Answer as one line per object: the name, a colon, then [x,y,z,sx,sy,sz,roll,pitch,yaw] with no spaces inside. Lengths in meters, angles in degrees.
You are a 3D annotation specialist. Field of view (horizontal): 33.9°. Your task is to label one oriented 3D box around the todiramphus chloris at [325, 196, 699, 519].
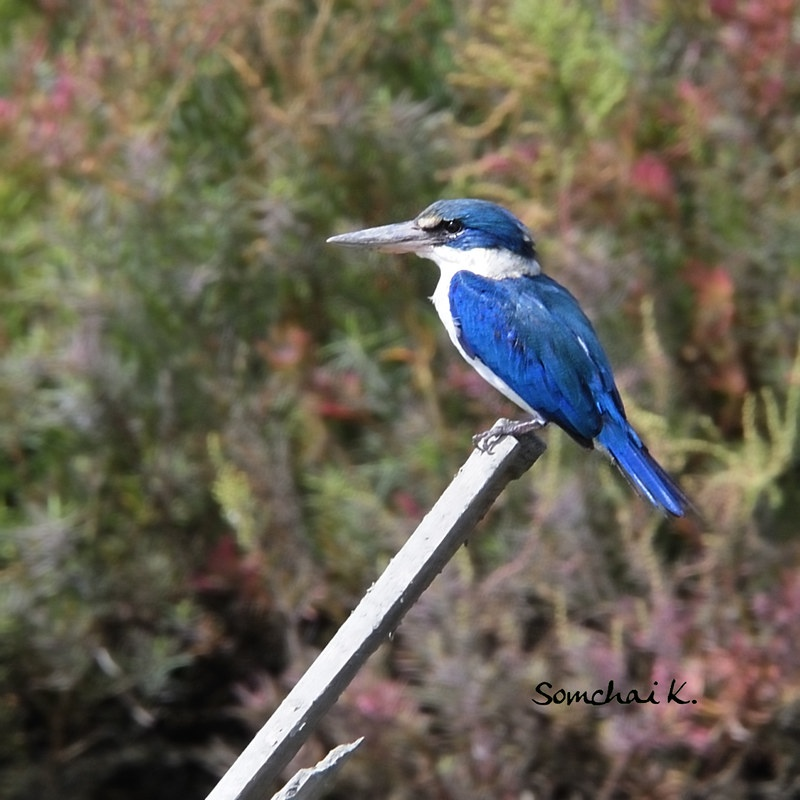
todiramphus chloris: [0.357,-0.191,3.709,1.146,0.697,0.412,15,26,29]
